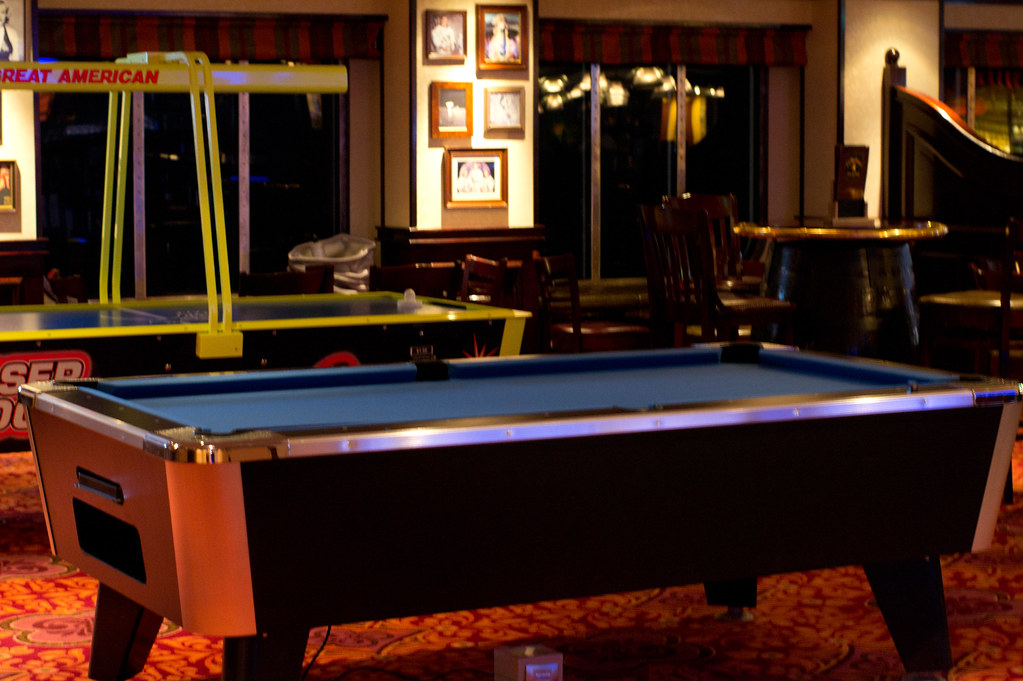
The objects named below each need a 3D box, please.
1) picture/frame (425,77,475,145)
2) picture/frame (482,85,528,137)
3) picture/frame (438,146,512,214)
[{"bbox_3d":[-0.554,-2.056,8.871,0.553,0.715,0.069,-2,5,-26],"label":"picture/frame"},{"bbox_3d":[-0.072,-2.088,9.026,0.440,0.487,0.039,-1,5,-21],"label":"picture/frame"},{"bbox_3d":[-0.351,-1.458,9.000,0.581,0.518,0.067,-1,2,-19],"label":"picture/frame"}]
